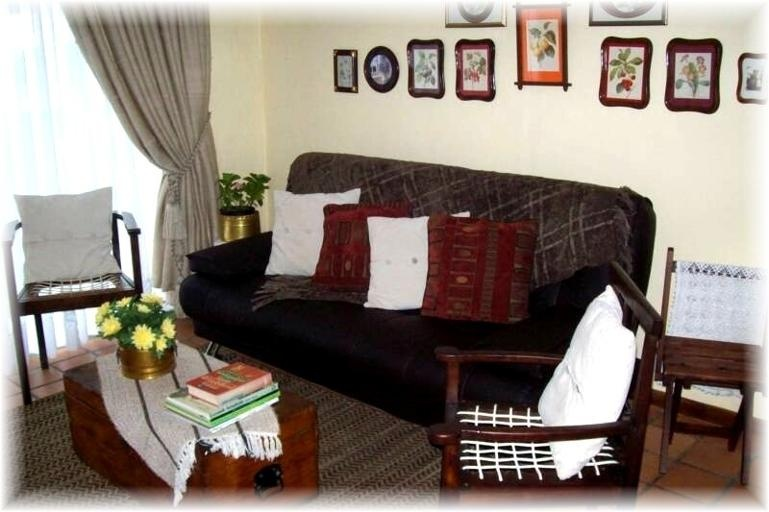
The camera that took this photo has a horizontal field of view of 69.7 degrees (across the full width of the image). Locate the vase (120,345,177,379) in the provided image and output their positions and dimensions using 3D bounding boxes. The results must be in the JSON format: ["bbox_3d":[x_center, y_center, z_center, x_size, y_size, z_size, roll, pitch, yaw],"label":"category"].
[{"bbox_3d":[-1.128,0.508,2.600,0.202,0.106,0.178,-1,6,-7],"label":"vase"}]

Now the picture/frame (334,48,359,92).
[{"bbox_3d":[-0.266,-1.354,3.994,0.295,0.335,0.061,12,20,35],"label":"picture/frame"}]

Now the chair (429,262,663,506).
[{"bbox_3d":[0.513,0.498,2.601,1.060,1.248,0.940,3,21,5],"label":"chair"}]

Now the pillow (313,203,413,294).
[{"bbox_3d":[-0.209,-0.049,3.385,0.591,0.523,0.164,6,-9,13],"label":"pillow"}]

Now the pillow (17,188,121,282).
[{"bbox_3d":[-2.010,-0.121,3.488,0.602,0.523,0.209,-8,-1,-25],"label":"pillow"}]

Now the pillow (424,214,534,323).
[{"bbox_3d":[0.532,0.092,3.030,0.622,0.552,0.174,3,-8,11],"label":"pillow"}]

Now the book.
[{"bbox_3d":[-0.670,0.554,2.380,0.281,0.094,0.341,15,21,32],"label":"book"}]

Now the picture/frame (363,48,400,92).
[{"bbox_3d":[-0.011,-1.301,3.830,0.024,0.281,0.296,-21,29,-39],"label":"picture/frame"}]

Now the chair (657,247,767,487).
[{"bbox_3d":[1.638,0.518,2.807,0.446,1.114,0.553,4,12,26],"label":"chair"}]

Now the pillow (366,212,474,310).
[{"bbox_3d":[0.079,0.051,3.131,0.625,0.521,0.174,-4,-7,7],"label":"pillow"}]

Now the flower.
[{"bbox_3d":[-1.139,0.320,2.602,0.349,0.186,0.334,6,-8,2],"label":"flower"}]
